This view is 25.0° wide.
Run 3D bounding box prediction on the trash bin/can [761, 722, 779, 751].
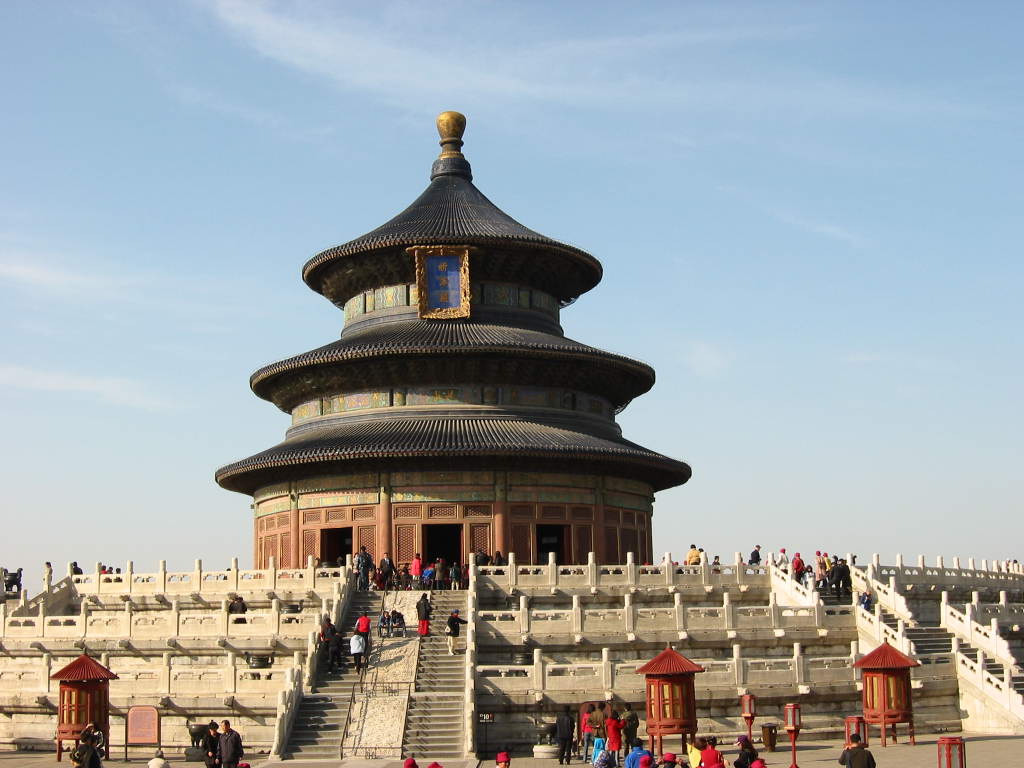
[{"bbox_3d":[7.143,9.805,64.201,0.730,0.770,0.674,-3,-11,2],"label":"trash bin/can"}]
